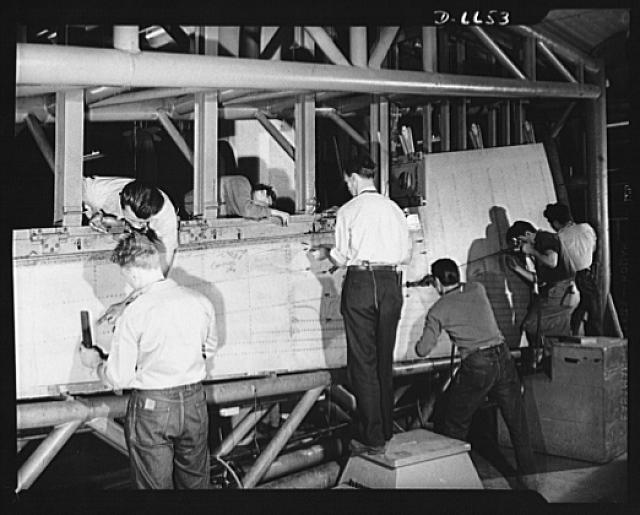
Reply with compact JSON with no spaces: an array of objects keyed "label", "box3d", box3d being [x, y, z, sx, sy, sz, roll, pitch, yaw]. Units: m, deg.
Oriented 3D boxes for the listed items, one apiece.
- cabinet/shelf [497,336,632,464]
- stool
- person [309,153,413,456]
[{"label":"cabinet/shelf","box3d":[2.028,1.157,7.116,0.598,0.998,0.979,2,-2,-44]},{"label":"stool","box3d":[0.703,1.578,6.467,1.076,0.403,0.418,-2,4,-15]},{"label":"person","box3d":[0.374,0.333,6.447,0.590,2.238,0.389,0,3,7]}]
